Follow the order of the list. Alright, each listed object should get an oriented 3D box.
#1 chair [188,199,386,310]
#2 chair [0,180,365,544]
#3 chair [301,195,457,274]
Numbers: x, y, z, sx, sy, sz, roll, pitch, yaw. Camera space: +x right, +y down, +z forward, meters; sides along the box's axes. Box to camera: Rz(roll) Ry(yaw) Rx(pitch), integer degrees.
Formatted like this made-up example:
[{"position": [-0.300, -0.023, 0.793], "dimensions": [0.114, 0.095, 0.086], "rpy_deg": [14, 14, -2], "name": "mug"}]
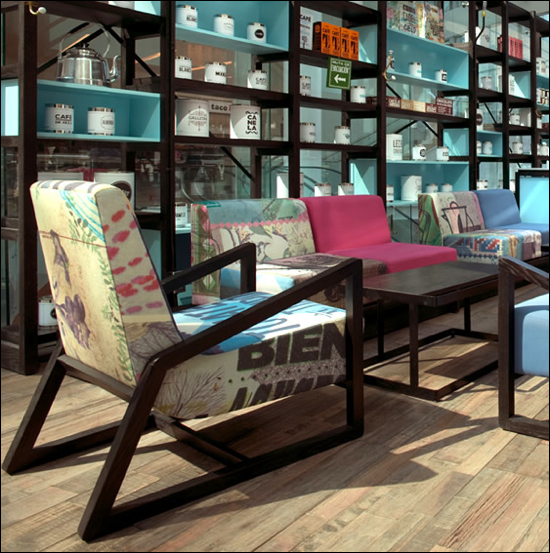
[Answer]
[{"position": [0.068, -0.057, 2.804], "dimensions": [0.846, 0.422, 0.865], "rpy_deg": [4, 10, 38], "name": "chair"}, {"position": [-0.245, 0.147, 1.495], "dimensions": [0.909, 0.808, 0.610], "rpy_deg": [-6, 8, -43], "name": "chair"}, {"position": [0.641, -0.290, 3.296], "dimensions": [0.753, 0.350, 0.773], "rpy_deg": [6, 10, 44], "name": "chair"}]
